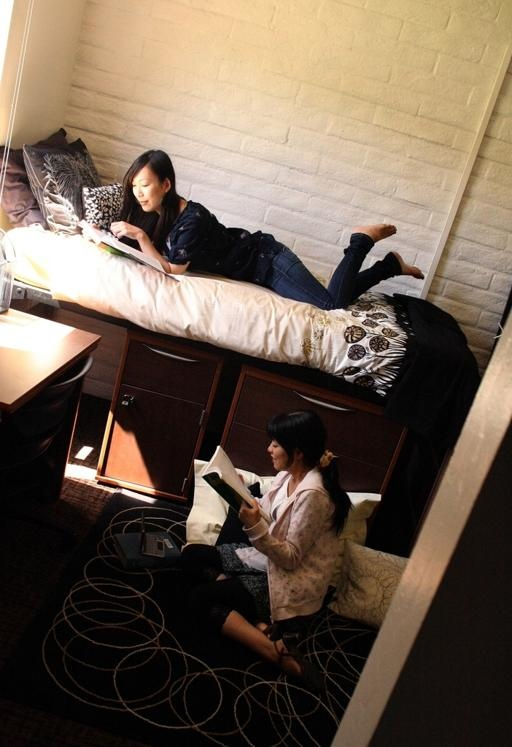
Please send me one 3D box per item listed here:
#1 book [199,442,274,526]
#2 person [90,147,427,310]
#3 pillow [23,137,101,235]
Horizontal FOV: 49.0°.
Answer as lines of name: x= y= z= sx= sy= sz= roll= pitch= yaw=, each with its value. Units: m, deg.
book: x=-0.058 y=0.328 z=1.585 sx=0.213 sy=0.072 sz=0.205 roll=53 pitch=2 yaw=-8
person: x=0.000 y=-0.587 z=2.428 sx=1.244 sy=0.628 sz=0.453 roll=1 pitch=18 yaw=1
pillow: x=-0.811 y=-0.830 z=2.463 sx=0.152 sy=0.333 sz=0.384 roll=-18 pitch=24 yaw=28
